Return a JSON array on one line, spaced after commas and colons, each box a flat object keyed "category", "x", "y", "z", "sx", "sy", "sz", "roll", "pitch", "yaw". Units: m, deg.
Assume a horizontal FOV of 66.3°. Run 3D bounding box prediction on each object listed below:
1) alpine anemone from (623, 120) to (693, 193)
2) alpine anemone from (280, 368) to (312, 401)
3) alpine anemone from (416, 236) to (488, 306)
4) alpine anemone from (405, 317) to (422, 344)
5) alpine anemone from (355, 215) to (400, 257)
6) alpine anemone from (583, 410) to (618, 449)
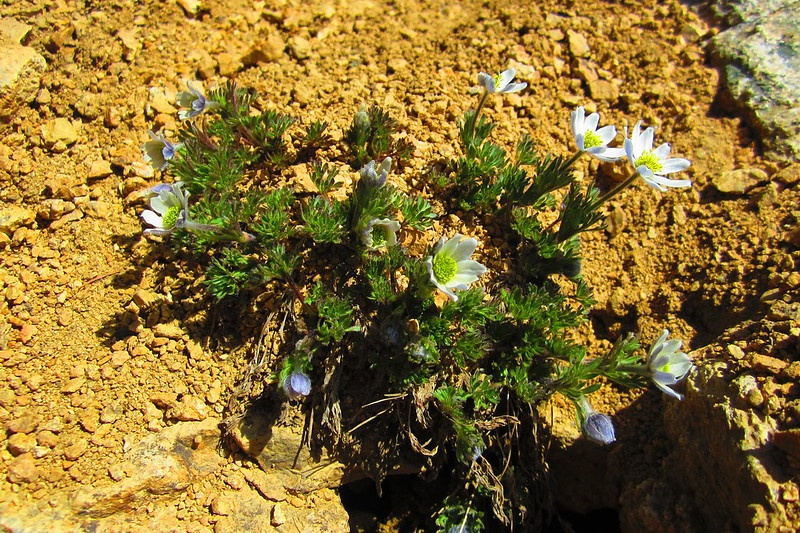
[{"category": "alpine anemone", "x": 2.477, "y": -1.021, "z": 5.853, "sx": 0.615, "sy": 0.286, "sz": 0.625, "roll": -11, "pitch": 67, "yaw": -35}, {"category": "alpine anemone", "x": -0.900, "y": 0.997, "z": 5.285, "sx": 0.208, "sy": 0.224, "sz": 0.253, "roll": -6, "pitch": 38, "yaw": -16}, {"category": "alpine anemone", "x": 0.459, "y": 0.067, "z": 5.217, "sx": 0.465, "sy": 0.246, "sz": 0.574, "roll": -2, "pitch": 85, "yaw": -13}, {"category": "alpine anemone", "x": 0.114, "y": 0.559, "z": 5.325, "sx": 0.087, "sy": 0.142, "sz": 0.184, "roll": -2, "pitch": 100, "yaw": -7}, {"category": "alpine anemone", "x": -0.259, "y": -0.318, "z": 5.524, "sx": 0.508, "sy": 0.420, "sz": 0.254, "roll": -14, "pitch": 101, "yaw": -43}, {"category": "alpine anemone", "x": 1.689, "y": 1.386, "z": 5.191, "sx": 0.249, "sy": 0.233, "sz": 0.288, "roll": -72, "pitch": 140, "yaw": -66}]
